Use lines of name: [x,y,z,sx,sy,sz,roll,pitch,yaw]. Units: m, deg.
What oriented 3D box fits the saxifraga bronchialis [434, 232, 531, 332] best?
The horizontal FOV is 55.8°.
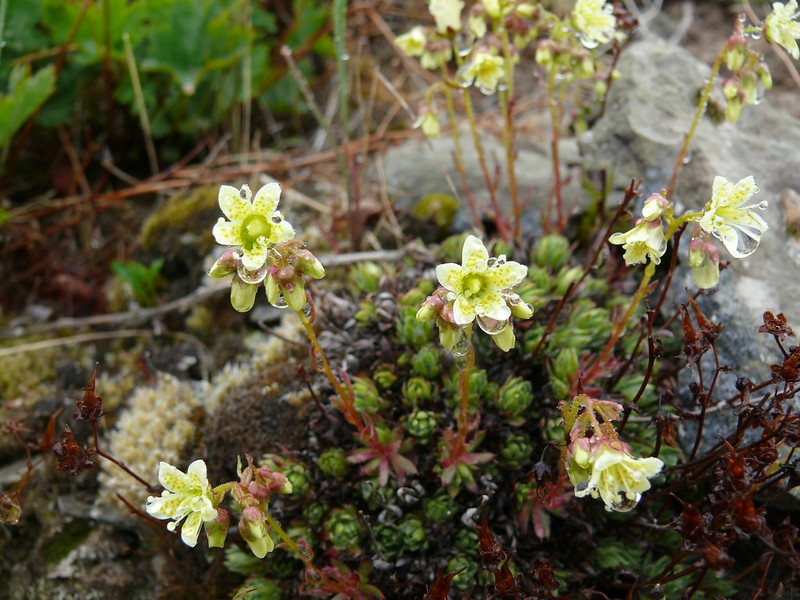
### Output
saxifraga bronchialis: [0.429,-0.092,3.900,0.413,0.308,0.376,-27,62,-24]
